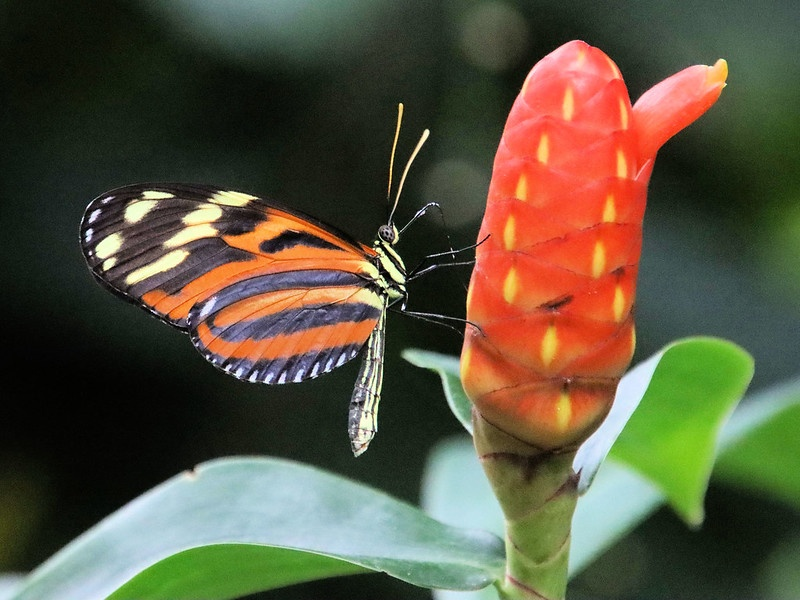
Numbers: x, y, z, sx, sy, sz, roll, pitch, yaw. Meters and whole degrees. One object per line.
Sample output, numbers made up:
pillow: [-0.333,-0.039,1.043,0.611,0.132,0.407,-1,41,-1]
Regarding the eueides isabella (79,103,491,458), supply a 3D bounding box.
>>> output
eueides isabella: [-0.383,-0.051,2.596,1.040,0.735,1.193,-5,97,-30]
